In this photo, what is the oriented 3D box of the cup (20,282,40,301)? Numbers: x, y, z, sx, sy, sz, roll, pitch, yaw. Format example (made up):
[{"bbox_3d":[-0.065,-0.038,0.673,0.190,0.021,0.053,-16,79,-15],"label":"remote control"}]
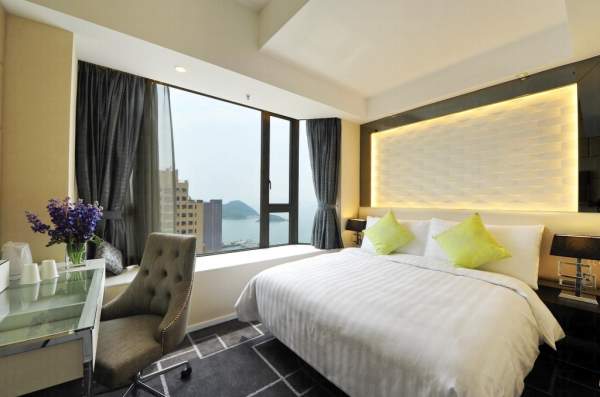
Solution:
[{"bbox_3d":[-2.121,0.736,2.812,0.126,0.101,0.130,0,-7,0],"label":"cup"}]

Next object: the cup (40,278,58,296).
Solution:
[{"bbox_3d":[-2.027,0.719,2.889,0.122,0.127,0.124,-2,-7,0],"label":"cup"}]

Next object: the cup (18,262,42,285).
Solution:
[{"bbox_3d":[-2.211,0.613,2.944,0.159,0.156,0.160,1,-1,0],"label":"cup"}]

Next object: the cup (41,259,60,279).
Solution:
[{"bbox_3d":[-2.125,0.616,3.100,0.148,0.145,0.147,1,-2,0],"label":"cup"}]

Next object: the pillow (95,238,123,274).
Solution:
[{"bbox_3d":[-2.028,0.635,3.838,0.108,0.368,0.368,-11,-11,-2],"label":"pillow"}]
